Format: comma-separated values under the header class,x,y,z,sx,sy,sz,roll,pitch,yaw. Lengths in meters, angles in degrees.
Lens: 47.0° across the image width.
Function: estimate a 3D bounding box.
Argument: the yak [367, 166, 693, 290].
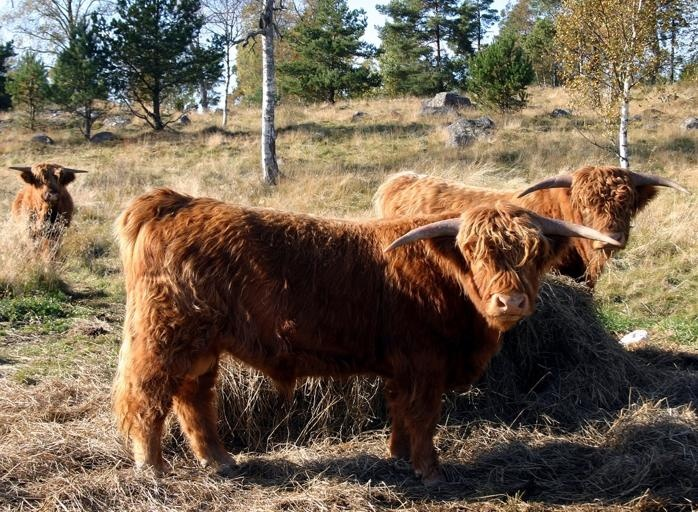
class,x,y,z,sx,sy,sz,roll,pitch,yaw
yak,2.109,-0.222,10.727,3.483,1.706,1.807,3,22,40
